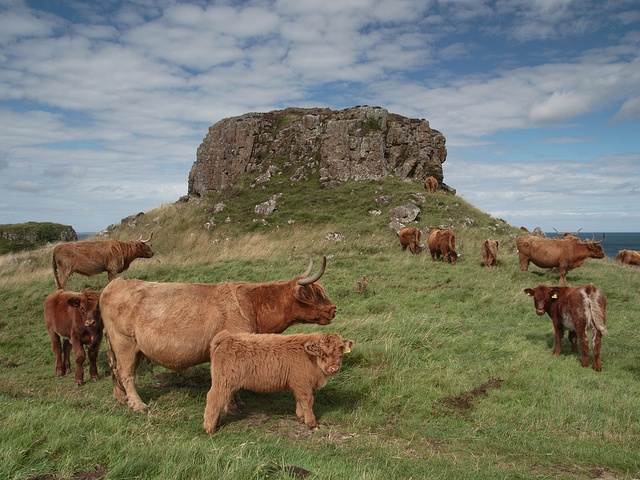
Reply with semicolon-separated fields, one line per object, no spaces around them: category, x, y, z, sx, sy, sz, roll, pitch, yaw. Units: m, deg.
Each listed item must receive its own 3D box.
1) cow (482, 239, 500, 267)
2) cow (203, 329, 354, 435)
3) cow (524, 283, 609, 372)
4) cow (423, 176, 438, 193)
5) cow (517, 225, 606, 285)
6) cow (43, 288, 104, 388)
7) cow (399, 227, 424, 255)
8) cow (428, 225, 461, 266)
cow;7.435;0.557;20.731;0.544;1.131;0.849;0;2;14
cow;-0.825;2.855;9.548;2.847;1.860;1.131;1;-9;-8
cow;6.508;2.136;12.571;0.961;2.065;2.824;1;-2;-6
cow;8.497;-4.230;36.313;0.807;1.316;2.461;0;20;13
cow;9.817;0.698;19.585;3.027;1.734;1.071;0;3;22
cow;-6.185;2.305;12.008;0.958;2.216;1.957;-3;3;-40
cow;4.457;-0.011;23.279;0.652;1.245;1.434;-1;2;-9
cow;5.634;0.221;21.709;0.857;1.553;1.950;-1;2;-10
